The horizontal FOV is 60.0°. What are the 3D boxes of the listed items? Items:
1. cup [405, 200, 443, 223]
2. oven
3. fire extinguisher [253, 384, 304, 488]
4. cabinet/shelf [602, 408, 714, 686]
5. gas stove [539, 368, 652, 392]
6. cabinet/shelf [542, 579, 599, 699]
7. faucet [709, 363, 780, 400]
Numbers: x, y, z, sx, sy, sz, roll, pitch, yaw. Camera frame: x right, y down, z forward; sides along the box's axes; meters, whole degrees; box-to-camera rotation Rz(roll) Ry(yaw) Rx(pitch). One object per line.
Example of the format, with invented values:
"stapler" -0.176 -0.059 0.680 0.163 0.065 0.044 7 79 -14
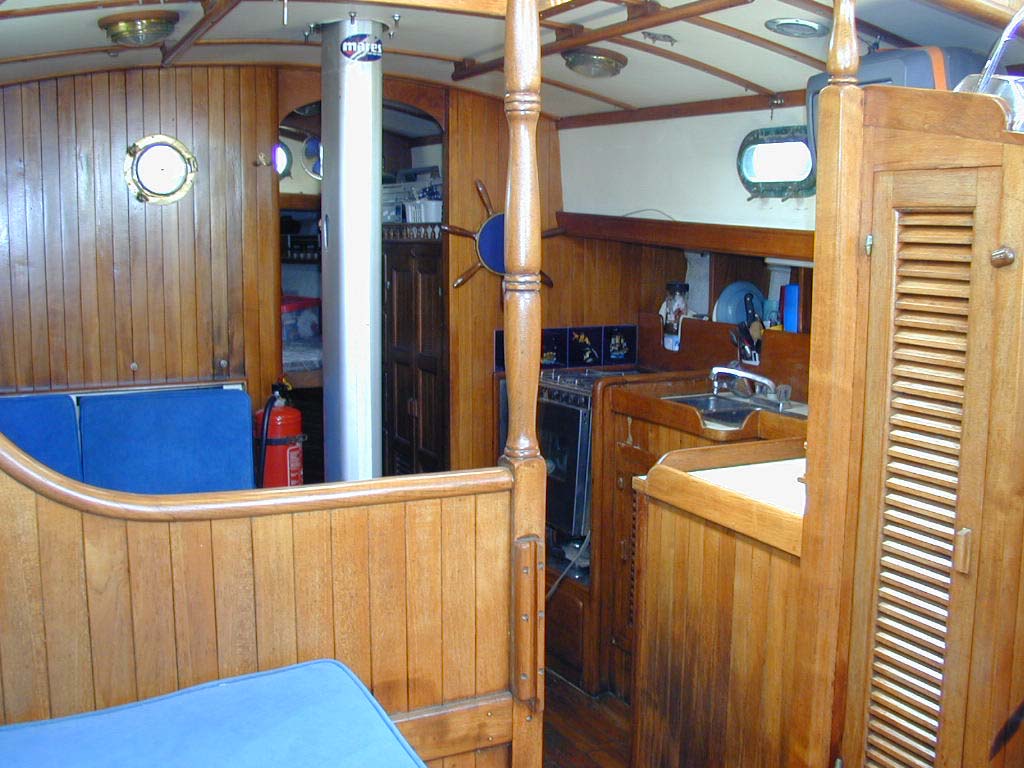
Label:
"cup" -0.521 -0.988 5.183 0.147 0.135 0.252 -1 8 -7
"oven" 0.097 0.427 4.736 0.500 0.930 0.709 6 -4 7
"fire extinguisher" -1.201 0.279 4.556 0.243 0.540 0.495 -4 7 -16
"cabinet/shelf" 0.564 0.800 3.967 0.143 1.325 0.506 -5 8 -24
"gas stove" 0.416 -0.050 4.639 0.508 0.069 1.052 -1 7 11
"cabinet/shelf" 0.274 1.194 4.337 0.116 0.495 0.411 -6 8 -30
"faucet" 1.047 -0.009 4.043 0.292 0.169 0.580 -1 7 12
